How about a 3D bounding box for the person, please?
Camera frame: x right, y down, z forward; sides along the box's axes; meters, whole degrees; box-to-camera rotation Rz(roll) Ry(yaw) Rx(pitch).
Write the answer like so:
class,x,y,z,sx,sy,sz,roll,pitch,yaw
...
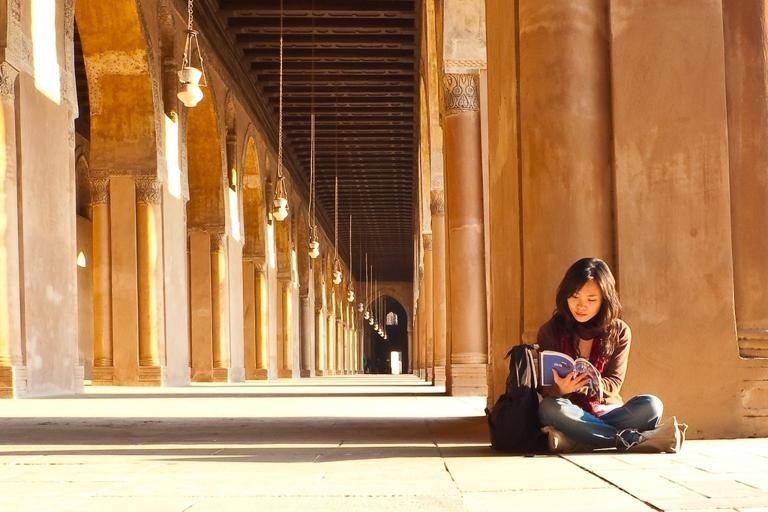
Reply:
class,x,y,z,sx,sy,sz,roll,pitch,yaw
person,1.502,0.819,8.740,1.037,1.503,1.479,-1,-2,-4
